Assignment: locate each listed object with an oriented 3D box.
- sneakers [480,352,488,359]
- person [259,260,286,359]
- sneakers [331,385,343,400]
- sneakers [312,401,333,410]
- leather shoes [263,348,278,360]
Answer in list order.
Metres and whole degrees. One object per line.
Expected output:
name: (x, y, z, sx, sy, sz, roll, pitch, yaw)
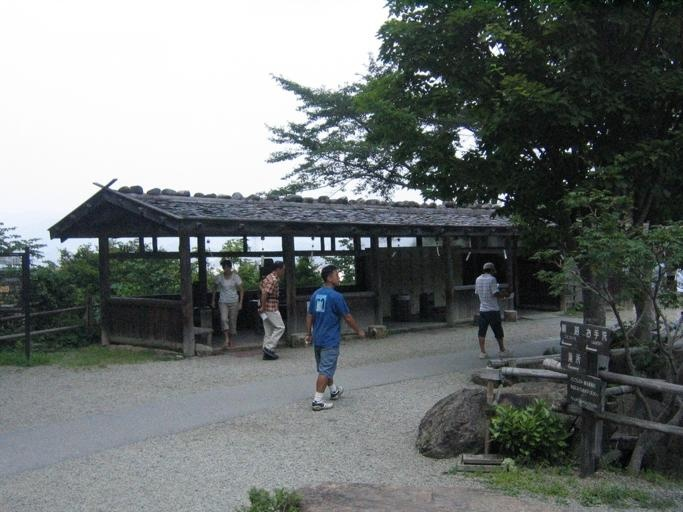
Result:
sneakers: (3.017, 2.115, 12.608, 0.080, 0.100, 0.227, 1, 4, 28)
person: (-1.509, 1.185, 12.911, 0.541, 2.146, 0.534, -1, 6, -6)
sneakers: (-0.079, 2.247, 9.829, 0.107, 0.148, 0.311, -3, 18, 23)
sneakers: (-0.312, 2.340, 9.310, 0.340, 0.164, 0.127, 3, -5, -21)
leather shoes: (-1.550, 2.148, 12.886, 0.151, 0.187, 0.436, 0, -4, 24)
